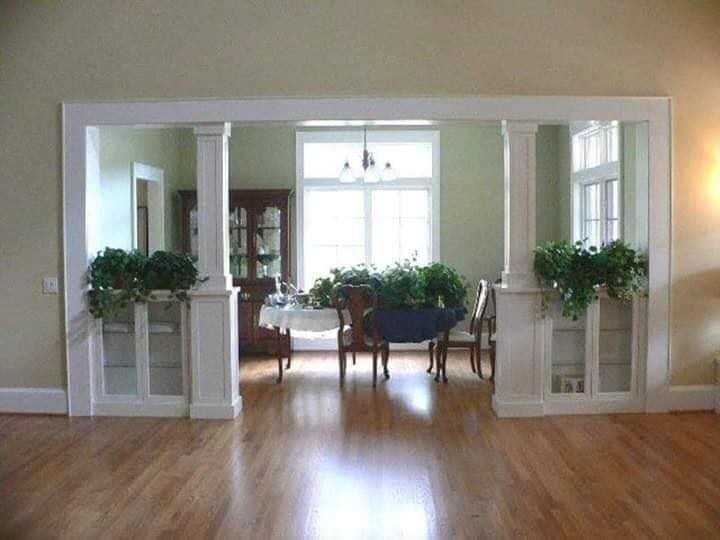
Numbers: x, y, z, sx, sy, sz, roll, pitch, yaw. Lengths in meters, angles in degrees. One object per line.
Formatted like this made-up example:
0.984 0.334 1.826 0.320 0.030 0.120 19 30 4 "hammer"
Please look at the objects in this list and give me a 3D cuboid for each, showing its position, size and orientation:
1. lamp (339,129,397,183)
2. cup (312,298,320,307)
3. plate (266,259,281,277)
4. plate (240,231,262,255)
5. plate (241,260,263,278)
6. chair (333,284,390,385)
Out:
0.067 -1.399 7.505 0.528 0.625 0.518 -4 7 -33 "lamp"
-0.498 0.364 7.048 0.086 0.092 0.065 6 -5 10 "cup"
-1.146 -0.023 8.265 0.149 0.326 0.162 -10 -16 41 "plate"
-1.411 -0.349 8.267 0.307 0.284 0.106 -3 10 -14 "plate"
-1.394 -0.010 8.250 0.282 0.214 0.068 -3 10 -14 "plate"
0.011 0.700 6.938 0.598 1.144 0.432 0 10 1 "chair"
